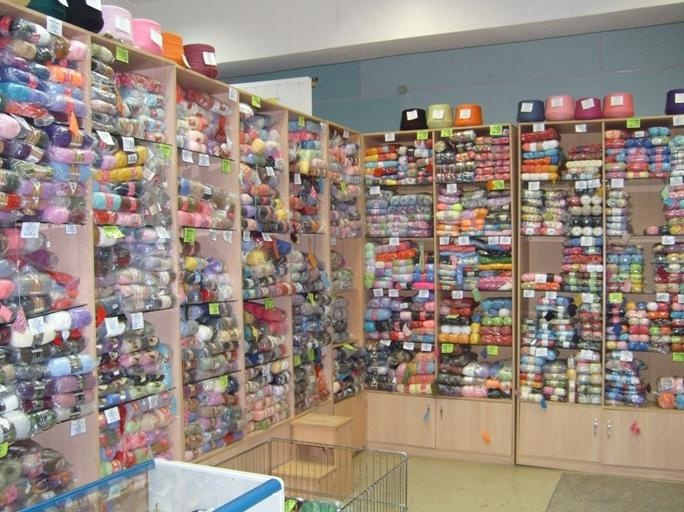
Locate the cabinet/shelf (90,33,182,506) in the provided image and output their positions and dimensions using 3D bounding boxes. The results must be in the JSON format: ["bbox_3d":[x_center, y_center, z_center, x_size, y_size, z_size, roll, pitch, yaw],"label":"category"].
[{"bbox_3d":[-1.240,0.029,2.976,0.272,2.458,0.606,0,1,16],"label":"cabinet/shelf"}]

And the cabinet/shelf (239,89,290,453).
[{"bbox_3d":[-0.655,0.065,4.059,0.278,2.597,0.656,0,1,22],"label":"cabinet/shelf"}]

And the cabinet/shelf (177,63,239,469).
[{"bbox_3d":[-0.978,0.067,3.529,0.332,2.583,0.655,0,1,19],"label":"cabinet/shelf"}]

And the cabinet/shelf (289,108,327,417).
[{"bbox_3d":[-0.318,0.058,4.598,0.276,2.607,0.616,0,1,14],"label":"cabinet/shelf"}]
